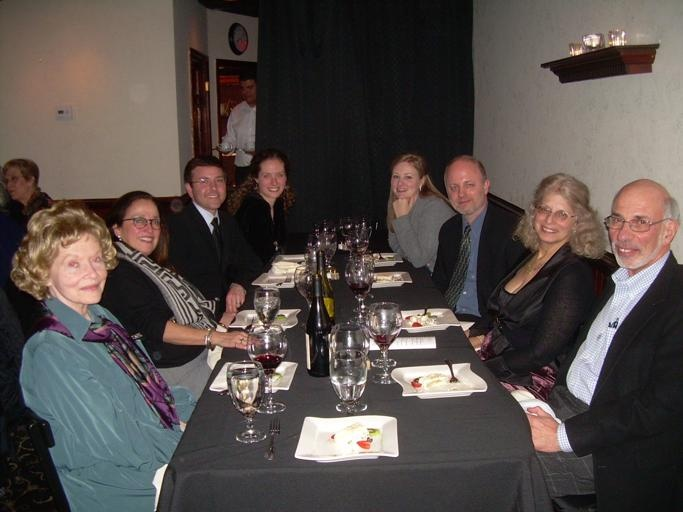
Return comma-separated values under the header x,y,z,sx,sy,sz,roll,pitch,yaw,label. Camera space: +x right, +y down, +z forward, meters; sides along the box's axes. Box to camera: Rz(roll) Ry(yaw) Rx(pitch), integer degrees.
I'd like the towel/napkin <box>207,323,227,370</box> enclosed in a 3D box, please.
x,y,z,sx,sy,sz,roll,pitch,yaw,label
-0.542,0.394,2.211,0.058,0.178,0.123,13,-11,-16,towel/napkin

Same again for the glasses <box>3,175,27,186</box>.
x,y,z,sx,sy,sz,roll,pitch,yaw,label
-2.729,-0.629,4.263,0.181,0.055,0.182,-1,-2,-5,glasses

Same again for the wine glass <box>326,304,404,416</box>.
x,y,z,sx,sy,sz,roll,pitch,yaw,label
0.078,0.331,1.729,0.266,0.268,0.282,0,2,14,wine glass

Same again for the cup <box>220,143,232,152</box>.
x,y,z,sx,sy,sz,roll,pitch,yaw,label
-1.516,-1.406,6.745,0.172,0.092,0.327,-9,21,-11,cup

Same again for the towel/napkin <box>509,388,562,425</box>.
x,y,z,sx,sy,sz,roll,pitch,yaw,label
0.711,0.550,1.880,0.116,0.059,0.146,30,2,-41,towel/napkin

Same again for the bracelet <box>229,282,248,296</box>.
x,y,z,sx,sy,sz,roll,pitch,yaw,label
-0.603,0.187,2.989,0.083,0.039,0.087,8,16,-2,bracelet

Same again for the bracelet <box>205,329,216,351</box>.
x,y,z,sx,sy,sz,roll,pitch,yaw,label
-0.581,0.368,2.243,0.027,0.081,0.061,1,-12,-30,bracelet

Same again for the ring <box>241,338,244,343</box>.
x,y,z,sx,sy,sz,roll,pitch,yaw,label
-0.400,0.338,2.058,0.016,0.018,0.009,4,33,14,ring

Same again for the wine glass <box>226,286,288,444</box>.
x,y,z,sx,sy,sz,roll,pitch,yaw,label
-0.291,0.381,1.779,0.106,0.323,0.349,1,9,-3,wine glass
